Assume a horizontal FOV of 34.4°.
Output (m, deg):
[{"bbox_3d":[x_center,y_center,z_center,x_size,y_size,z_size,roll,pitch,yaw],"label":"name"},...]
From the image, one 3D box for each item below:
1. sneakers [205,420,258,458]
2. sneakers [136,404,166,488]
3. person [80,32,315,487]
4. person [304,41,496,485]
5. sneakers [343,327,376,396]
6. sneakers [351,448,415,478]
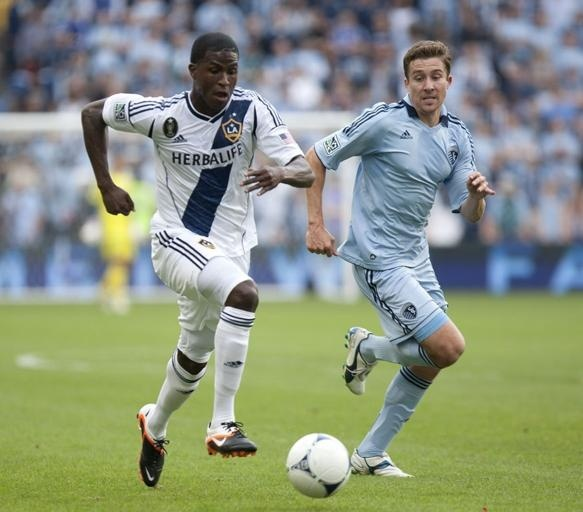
[{"bbox_3d":[-0.362,1.118,5.624,0.269,0.230,0.276,-1,4,-12],"label":"sneakers"},{"bbox_3d":[-0.906,1.250,6.156,0.164,0.504,0.203,18,-39,-37],"label":"sneakers"},{"bbox_3d":[-0.584,0.029,6.046,1.326,2.859,0.745,2,4,33],"label":"person"},{"bbox_3d":[0.740,-0.254,6.339,1.203,2.329,0.689,0,4,11],"label":"person"},{"bbox_3d":[0.520,0.774,6.873,0.190,0.527,0.256,-10,24,-29],"label":"sneakers"},{"bbox_3d":[0.615,1.357,6.186,0.422,0.180,0.148,5,-3,9],"label":"sneakers"}]
